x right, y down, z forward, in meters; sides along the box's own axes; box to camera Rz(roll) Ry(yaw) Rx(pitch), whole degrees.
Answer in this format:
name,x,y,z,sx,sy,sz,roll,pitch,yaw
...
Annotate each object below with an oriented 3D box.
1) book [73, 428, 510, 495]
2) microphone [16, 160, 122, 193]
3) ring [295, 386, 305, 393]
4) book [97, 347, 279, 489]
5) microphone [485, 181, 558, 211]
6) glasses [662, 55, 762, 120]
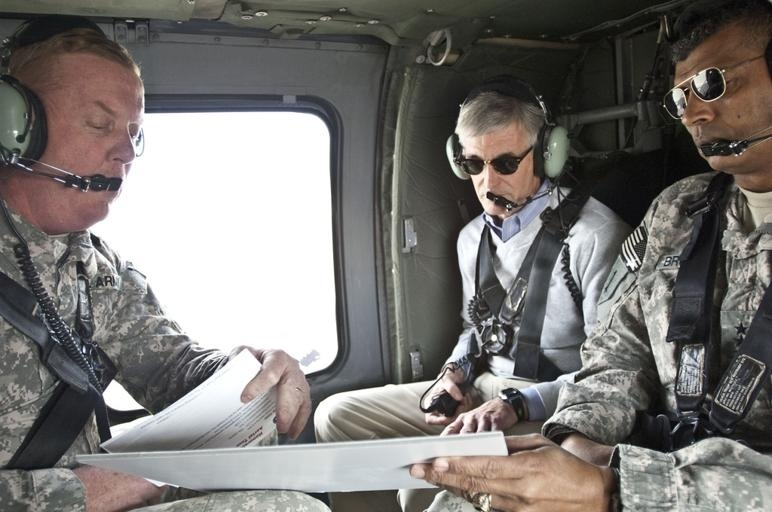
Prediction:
name,x,y,z,sx,sy,sz,roll,pitch,yaw
book,-0.276,0.680,2.332,1.319,0.301,0.333,-1,5,6
microphone,-1.200,-0.297,2.786,0.212,0.047,0.141,11,-11,-4
ring,-0.335,0.522,2.837,0.028,0.007,0.028,32,-17,11
book,-0.629,0.566,2.536,0.600,0.223,0.522,-14,-24,-17
microphone,0.682,-0.296,3.597,0.247,0.057,0.166,-18,29,-9
glasses,1.190,-0.631,2.683,0.242,0.069,0.222,-13,-6,-24
